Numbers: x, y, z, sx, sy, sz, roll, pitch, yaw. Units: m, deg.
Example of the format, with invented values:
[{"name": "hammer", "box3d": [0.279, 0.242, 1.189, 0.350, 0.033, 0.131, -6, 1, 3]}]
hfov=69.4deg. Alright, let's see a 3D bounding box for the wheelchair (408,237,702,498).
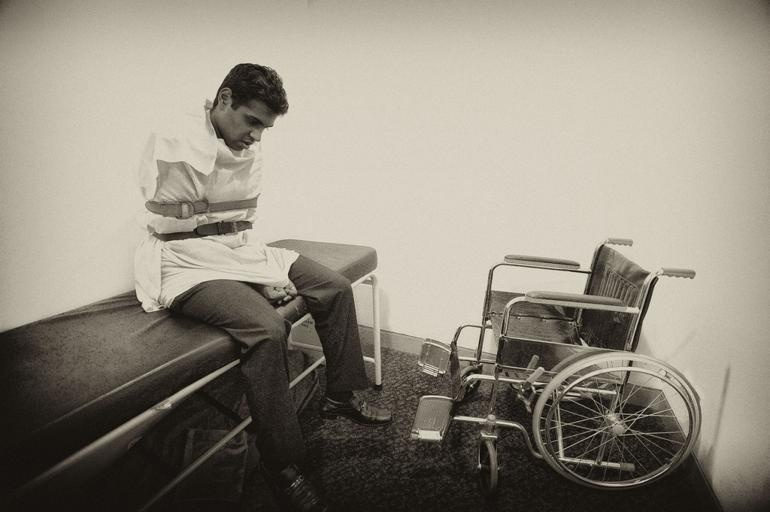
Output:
[{"name": "wheelchair", "box3d": [1.142, 0.643, 3.552, 1.758, 1.488, 1.004, 6, 15, 6]}]
